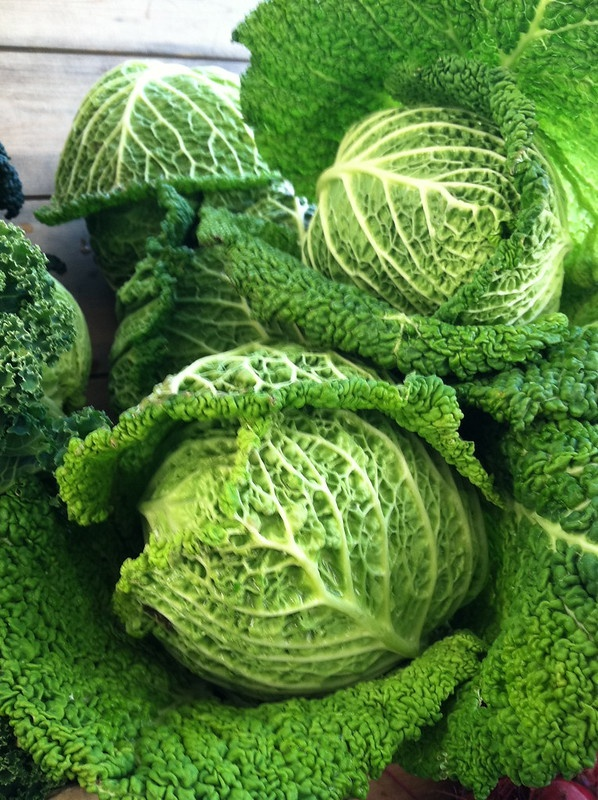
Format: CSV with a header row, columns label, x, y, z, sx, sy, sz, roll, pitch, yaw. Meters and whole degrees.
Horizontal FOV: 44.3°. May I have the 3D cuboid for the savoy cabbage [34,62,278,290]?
label,x,y,z,sx,sy,sz,roll,pitch,yaw
savoy cabbage,-0.324,-0.537,1.741,0.513,0.448,0.453,-22,4,-17
